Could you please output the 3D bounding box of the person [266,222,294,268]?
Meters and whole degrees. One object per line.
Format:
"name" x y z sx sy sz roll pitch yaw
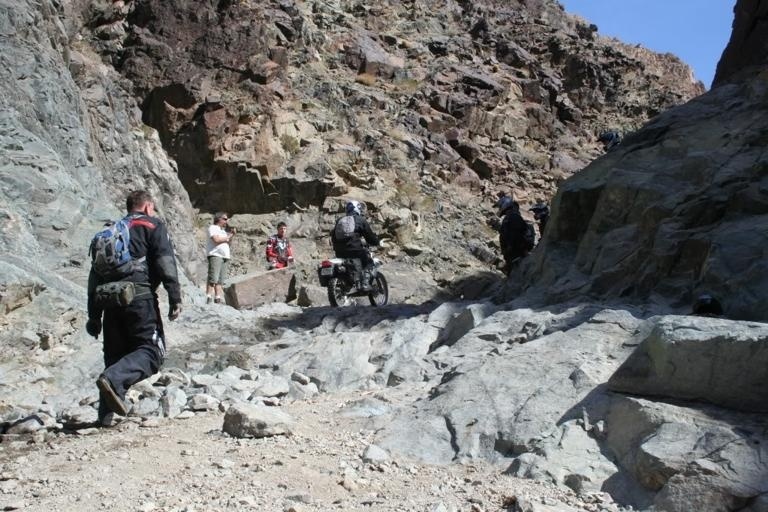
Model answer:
"person" -2.601 -0.320 19.278 0.603 1.213 2.405 -1 13 -8

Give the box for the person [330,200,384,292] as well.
"person" -0.598 -0.208 15.246 0.903 1.646 0.707 0 13 -6

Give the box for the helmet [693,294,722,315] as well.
"helmet" 4.186 0.643 10.201 0.294 0.291 0.282 -1 -13 14

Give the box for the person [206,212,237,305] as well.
"person" -3.419 0.074 16.089 0.557 1.909 0.654 -2 14 -13

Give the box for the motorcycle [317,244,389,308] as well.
"motorcycle" -0.587 0.337 15.526 0.943 1.392 2.027 -3 -2 33

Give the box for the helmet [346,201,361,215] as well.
"helmet" -0.632 -0.947 15.385 0.208 0.268 0.264 3 -6 2
